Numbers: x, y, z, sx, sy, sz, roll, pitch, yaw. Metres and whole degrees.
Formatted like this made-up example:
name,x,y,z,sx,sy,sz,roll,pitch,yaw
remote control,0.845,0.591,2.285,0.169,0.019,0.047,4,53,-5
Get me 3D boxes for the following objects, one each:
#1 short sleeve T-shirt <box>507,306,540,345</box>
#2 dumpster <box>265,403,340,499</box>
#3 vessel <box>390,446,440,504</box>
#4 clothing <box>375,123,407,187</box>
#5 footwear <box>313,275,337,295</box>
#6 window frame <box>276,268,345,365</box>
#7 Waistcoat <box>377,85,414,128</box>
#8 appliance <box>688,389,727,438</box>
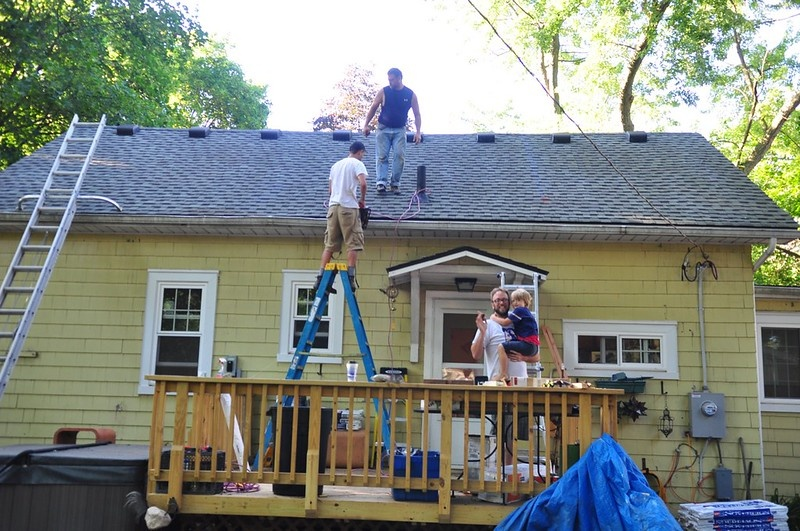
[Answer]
name,x,y,z,sx,sy,sz,roll,pitch,yaw
short sleeve T-shirt,2.032,1.039,16.559,0.322,0.512,0.566,-13,-16,1
dumpster,-1.602,3.164,16.429,1.265,1.430,1.323,6,-25,-14
vessel,0.230,3.473,16.161,0.802,0.732,0.798,1,-11,0
clothing,-0.206,-2.241,20.012,0.656,1.532,0.579,2,-27,-4
footwear,-1.320,0.371,17.140,0.306,0.411,0.259,7,-3,-18
window frame,-1.671,1.005,18.408,1.836,2.353,0.278,1,-11,1
Waistcoat,-0.098,-3.204,19.844,0.691,0.875,0.497,3,19,-13
appliance,5.705,2.817,18.380,0.845,1.052,0.437,0,-3,1
